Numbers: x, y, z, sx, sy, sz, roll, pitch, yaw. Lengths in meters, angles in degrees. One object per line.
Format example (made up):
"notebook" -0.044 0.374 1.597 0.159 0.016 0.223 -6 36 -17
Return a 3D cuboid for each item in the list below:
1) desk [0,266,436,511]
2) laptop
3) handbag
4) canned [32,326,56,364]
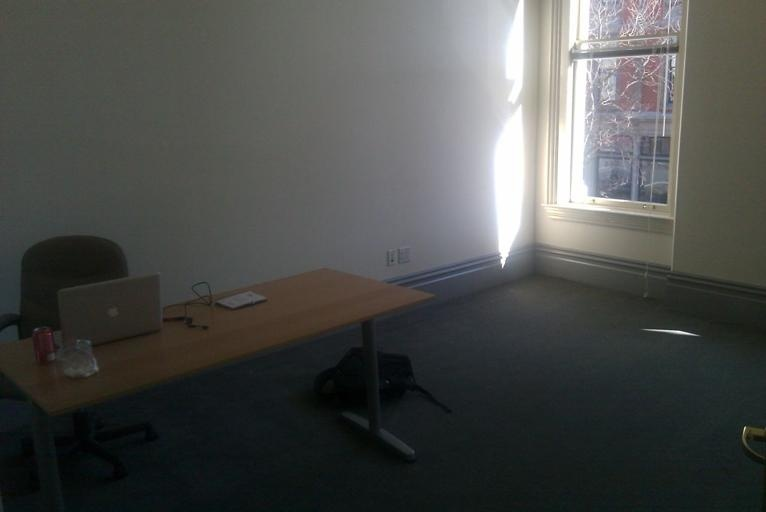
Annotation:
"desk" -0.812 0.792 2.907 2.010 0.945 0.875 -13 18 -28
"laptop" -1.340 0.262 2.634 0.500 0.353 0.346 -8 15 -34
"handbag" -0.120 0.833 3.741 0.521 0.195 0.344 0 2 0
"canned" -1.645 0.414 2.579 0.096 0.164 0.173 -15 19 -34
